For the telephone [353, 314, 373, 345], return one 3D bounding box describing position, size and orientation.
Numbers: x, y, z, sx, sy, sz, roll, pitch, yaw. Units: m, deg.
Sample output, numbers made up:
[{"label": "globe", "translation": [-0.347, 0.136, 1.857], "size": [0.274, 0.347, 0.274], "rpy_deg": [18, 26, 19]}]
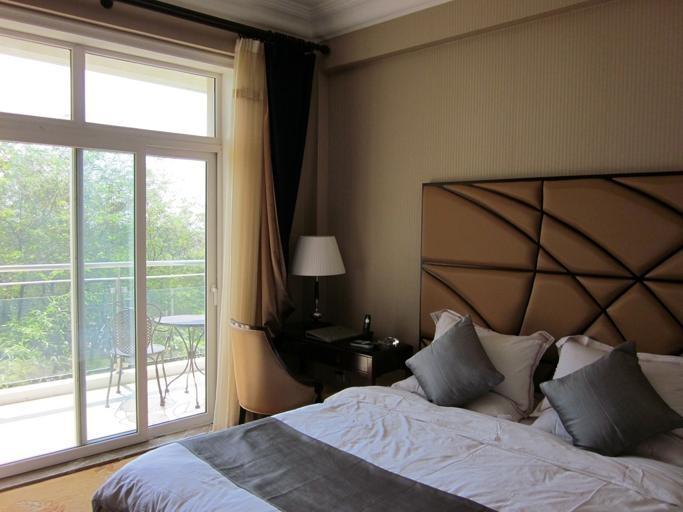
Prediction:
[{"label": "telephone", "translation": [0.194, 0.609, 4.137], "size": [0.147, 0.261, 0.207], "rpy_deg": [1, 2, 34]}]
